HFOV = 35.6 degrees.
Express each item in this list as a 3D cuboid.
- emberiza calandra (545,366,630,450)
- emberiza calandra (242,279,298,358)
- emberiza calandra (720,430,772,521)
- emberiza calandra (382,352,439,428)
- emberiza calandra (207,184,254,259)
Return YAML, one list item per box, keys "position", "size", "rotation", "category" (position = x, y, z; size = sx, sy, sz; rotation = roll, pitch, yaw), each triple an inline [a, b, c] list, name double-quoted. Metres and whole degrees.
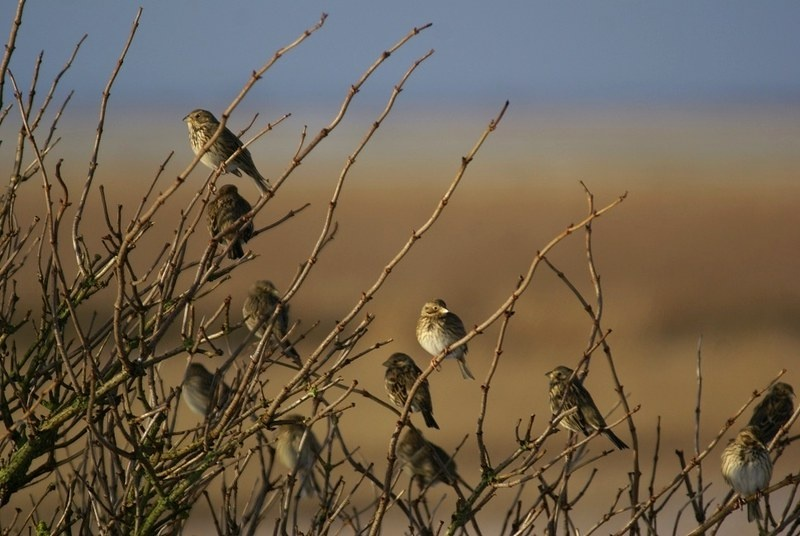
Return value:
- position: [1.659, 1.268, 11.170]
  size: [0.344, 0.720, 0.956]
  rotation: [13, -1, -38]
  category: "emberiza calandra"
- position: [-1.172, 0.446, 11.259]
  size: [0.347, 1.045, 0.562]
  rotation: [1, -83, -21]
  category: "emberiza calandra"
- position: [3.131, 1.735, 11.312]
  size: [0.420, 0.950, 0.989]
  rotation: [-2, -72, 9]
  category: "emberiza calandra"
- position: [0.138, 1.107, 11.428]
  size: [0.597, 0.739, 0.357]
  rotation: [-5, -7, 24]
  category: "emberiza calandra"
- position: [-1.375, -0.346, 10.033]
  size: [0.277, 0.550, 0.695]
  rotation: [-3, -60, -7]
  category: "emberiza calandra"
